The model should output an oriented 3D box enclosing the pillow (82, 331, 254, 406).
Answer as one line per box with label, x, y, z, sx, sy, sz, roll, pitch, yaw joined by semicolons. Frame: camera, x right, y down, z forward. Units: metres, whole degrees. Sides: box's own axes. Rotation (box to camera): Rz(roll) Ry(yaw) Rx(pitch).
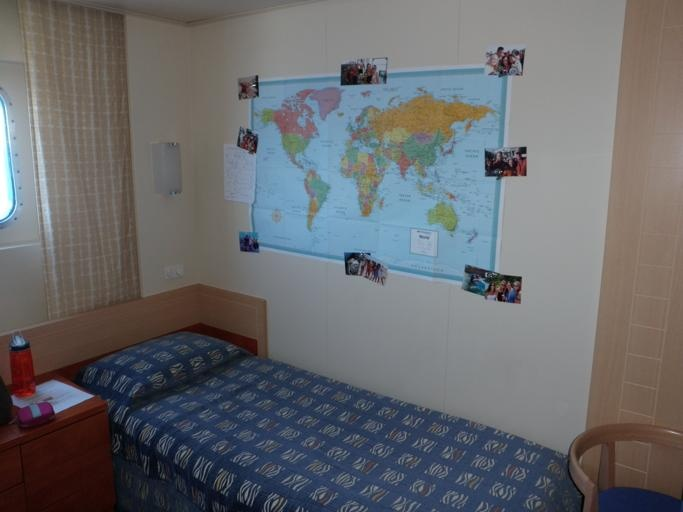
pillow;-1.097;0.688;3.051;0.412;0.136;0.636;12;17;31
